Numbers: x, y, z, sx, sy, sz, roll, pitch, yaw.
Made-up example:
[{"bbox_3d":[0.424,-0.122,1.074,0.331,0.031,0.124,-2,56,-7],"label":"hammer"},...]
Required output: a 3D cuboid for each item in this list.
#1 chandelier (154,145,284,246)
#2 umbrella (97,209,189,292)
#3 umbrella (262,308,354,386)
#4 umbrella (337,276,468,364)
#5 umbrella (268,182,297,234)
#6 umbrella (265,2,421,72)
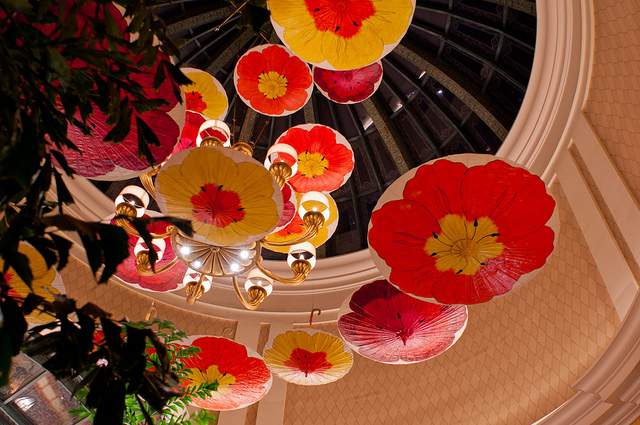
[{"bbox_3d":[-0.909,-0.058,3.551,1.078,0.294,1.088,20,-39,-22],"label":"chandelier"},{"bbox_3d":[-1.818,0.502,4.854,0.958,0.960,0.399,27,-67,35],"label":"umbrella"},{"bbox_3d":[-0.252,1.550,4.885,0.926,1.111,0.968,1,-111,-10],"label":"umbrella"},{"bbox_3d":[0.795,1.169,4.761,1.241,2.115,0.935,-2,-103,4],"label":"umbrella"},{"bbox_3d":[-0.359,-0.005,3.970,0.227,0.202,0.527,6,-103,-9],"label":"umbrella"},{"bbox_3d":[0.135,-1.669,3.846,1.188,0.929,0.647,8,-66,-4],"label":"umbrella"}]
